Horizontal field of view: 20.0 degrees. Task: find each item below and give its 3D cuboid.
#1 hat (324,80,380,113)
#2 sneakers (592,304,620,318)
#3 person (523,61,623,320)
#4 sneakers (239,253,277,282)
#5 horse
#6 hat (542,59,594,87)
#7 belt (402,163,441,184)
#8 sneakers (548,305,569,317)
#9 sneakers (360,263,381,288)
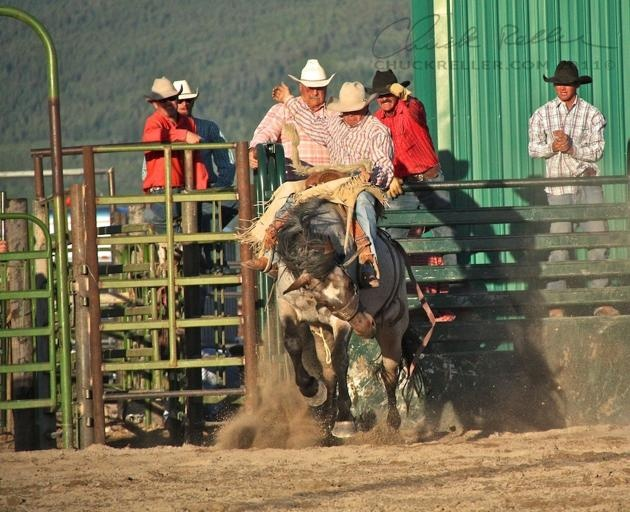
[{"bbox_3d":[0.405,-1.826,20.672,0.331,0.174,0.429,-8,29,18],"label":"hat"},{"bbox_3d":[3.579,0.655,22.121,0.380,0.140,0.201,-5,-1,29],"label":"sneakers"},{"bbox_3d":[3.263,-0.889,22.638,0.943,3.234,1.255,-4,-1,-3],"label":"person"},{"bbox_3d":[-0.599,0.123,20.360,0.197,0.237,0.592,-35,-20,9],"label":"sneakers"},{"bbox_3d":[0.226,0.861,20.699,0.999,2.226,3.898,-3,-31,8],"label":"horse"},{"bbox_3d":[3.277,-2.407,23.454,0.444,0.232,0.568,-1,3,16],"label":"hat"},{"bbox_3d":[1.341,-1.023,22.348,0.346,0.195,0.253,-7,1,-29],"label":"belt"},{"bbox_3d":[2.989,0.674,22.153,0.193,0.117,0.139,2,1,10],"label":"sneakers"},{"bbox_3d":[0.598,0.212,19.997,0.164,0.288,0.283,-19,-32,0],"label":"sneakers"}]
